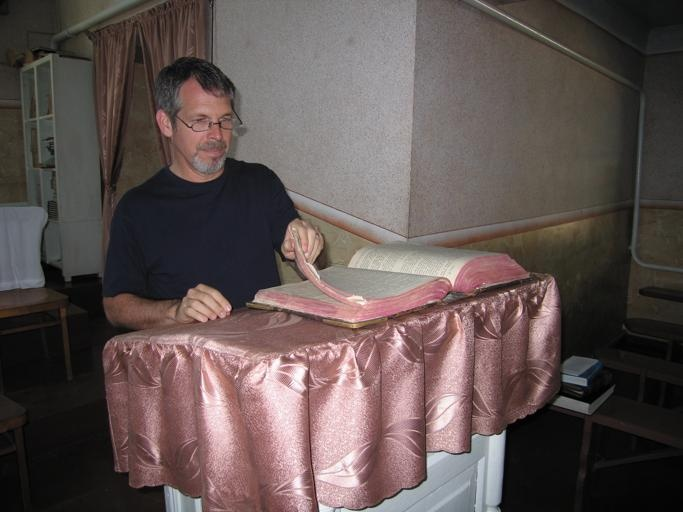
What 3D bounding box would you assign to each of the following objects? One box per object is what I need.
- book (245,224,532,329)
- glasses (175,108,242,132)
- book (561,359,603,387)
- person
[{"bbox_3d":[0.157,0.057,1.771,0.864,0.239,0.332,0,8,-30],"label":"book"},{"bbox_3d":[-0.512,-0.515,2.172,0.235,0.093,0.089,0,8,-28],"label":"glasses"},{"bbox_3d":[1.426,0.696,3.348,0.174,0.073,0.324,4,11,32],"label":"book"},{"bbox_3d":[-0.502,-0.171,2.240,0.847,1.138,0.691,-17,36,-32],"label":"person"}]
